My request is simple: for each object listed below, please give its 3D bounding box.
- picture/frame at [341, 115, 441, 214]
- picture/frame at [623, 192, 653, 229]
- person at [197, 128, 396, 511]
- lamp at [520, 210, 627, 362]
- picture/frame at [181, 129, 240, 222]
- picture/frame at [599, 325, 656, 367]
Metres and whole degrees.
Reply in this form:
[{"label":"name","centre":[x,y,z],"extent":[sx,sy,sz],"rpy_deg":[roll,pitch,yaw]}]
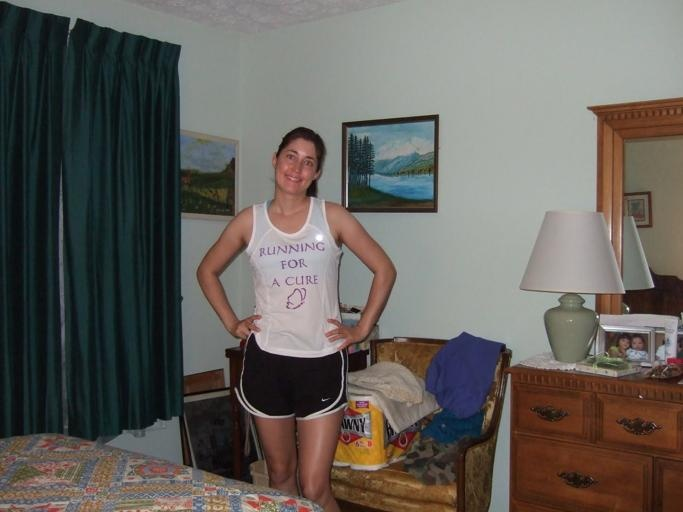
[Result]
[{"label":"picture/frame","centre":[0.364,-0.635,3.844],"extent":[0.744,0.709,0.039],"rpy_deg":[1,0,22]},{"label":"picture/frame","centre":[1.664,-0.268,3.178],"extent":[0.157,0.207,0.016],"rpy_deg":[-3,2,18]},{"label":"person","centre":[-0.250,0.271,2.711],"extent":[0.881,1.764,0.576],"rpy_deg":[2,10,25]},{"label":"lamp","centre":[1.222,0.164,2.969],"extent":[0.465,0.799,0.312],"rpy_deg":[-5,9,-16]},{"label":"picture/frame","centre":[-1.029,-0.609,4.283],"extent":[0.637,0.663,0.029],"rpy_deg":[8,13,30]},{"label":"picture/frame","centre":[1.545,0.473,3.043],"extent":[0.325,0.246,0.185],"rpy_deg":[4,-10,24]}]
